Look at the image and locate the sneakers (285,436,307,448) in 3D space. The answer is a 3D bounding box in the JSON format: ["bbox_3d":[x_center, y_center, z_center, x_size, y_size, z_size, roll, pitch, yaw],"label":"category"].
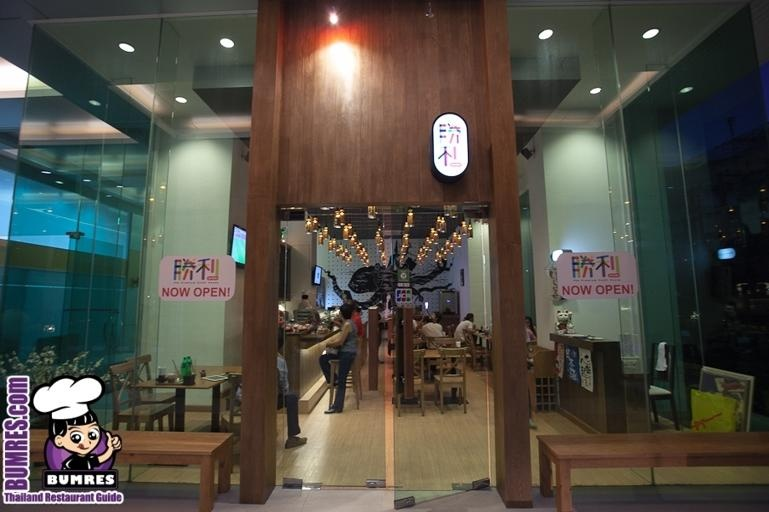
[{"bbox_3d":[-0.998,2.076,5.942,0.277,0.120,0.092,-3,-3,-9],"label":"sneakers"}]

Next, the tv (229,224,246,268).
[{"bbox_3d":[-1.635,-0.121,5.929,0.165,0.447,0.079,-3,-7,7],"label":"tv"}]

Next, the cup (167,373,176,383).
[{"bbox_3d":[-2.364,1.364,5.907,0.083,0.072,0.081,3,-5,0],"label":"cup"}]

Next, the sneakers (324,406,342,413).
[{"bbox_3d":[-0.590,1.762,6.094,0.186,0.081,0.069,5,-9,-6],"label":"sneakers"}]

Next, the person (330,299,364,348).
[{"bbox_3d":[-0.348,0.700,6.168,0.401,0.752,0.296,0,-4,7],"label":"person"}]

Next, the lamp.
[{"bbox_3d":[0.067,-0.219,6.144,1.888,0.667,0.194,-2,-7,0],"label":"lamp"}]

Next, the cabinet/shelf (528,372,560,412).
[{"bbox_3d":[1.824,1.513,5.991,0.259,0.385,0.200,-4,-6,19],"label":"cabinet/shelf"}]

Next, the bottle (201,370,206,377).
[{"bbox_3d":[-2.022,1.303,5.893,0.065,0.072,0.052,0,-5,-2],"label":"bottle"}]
